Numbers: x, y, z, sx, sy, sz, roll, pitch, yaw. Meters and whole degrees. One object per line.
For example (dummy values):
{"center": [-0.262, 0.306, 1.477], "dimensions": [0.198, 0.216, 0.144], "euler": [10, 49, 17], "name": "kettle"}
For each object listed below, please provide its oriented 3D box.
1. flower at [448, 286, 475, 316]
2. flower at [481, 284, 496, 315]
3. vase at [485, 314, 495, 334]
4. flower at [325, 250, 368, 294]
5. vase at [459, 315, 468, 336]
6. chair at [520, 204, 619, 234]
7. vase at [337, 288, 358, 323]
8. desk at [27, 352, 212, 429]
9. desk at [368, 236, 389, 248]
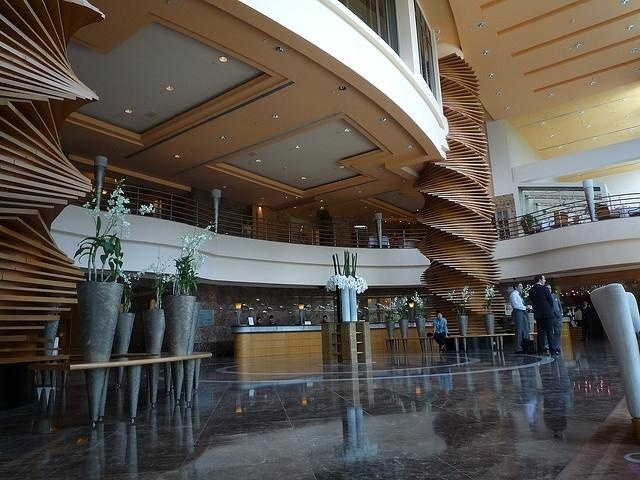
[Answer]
{"center": [4.652, 1.986, 13.400], "dimensions": [1.046, 1.050, 0.347], "euler": [-3, -10, 17], "name": "flower"}
{"center": [5.500, 1.902, 13.408], "dimensions": [0.409, 0.938, 0.844], "euler": [-7, -14, 20], "name": "flower"}
{"center": [5.335, 2.628, 12.879], "dimensions": [0.250, 0.658, 0.470], "euler": [-6, -14, 17], "name": "vase"}
{"center": [0.606, 0.764, 10.072], "dimensions": [0.878, 1.142, 1.916], "euler": [-2, -13, 1], "name": "flower"}
{"center": [4.478, 2.664, 12.815], "dimensions": [0.242, 0.636, 0.171], "euler": [-4, -14, 10], "name": "vase"}
{"center": [9.513, -0.874, 15.744], "dimensions": [3.480, 0.915, 0.831], "euler": [-12, -17, 38], "name": "chair"}
{"center": [0.630, 1.490, 9.355], "dimensions": [0.424, 0.749, 0.447], "euler": [-1, -13, -6], "name": "vase"}
{"center": [-1.989, 1.429, 4.078], "dimensions": [1.455, 0.564, 1.759], "euler": [7, -16, -32], "name": "desk"}
{"center": [2.881, 0.117, 20.131], "dimensions": [1.075, 0.526, 0.951], "euler": [-2, -9, 2], "name": "desk"}
